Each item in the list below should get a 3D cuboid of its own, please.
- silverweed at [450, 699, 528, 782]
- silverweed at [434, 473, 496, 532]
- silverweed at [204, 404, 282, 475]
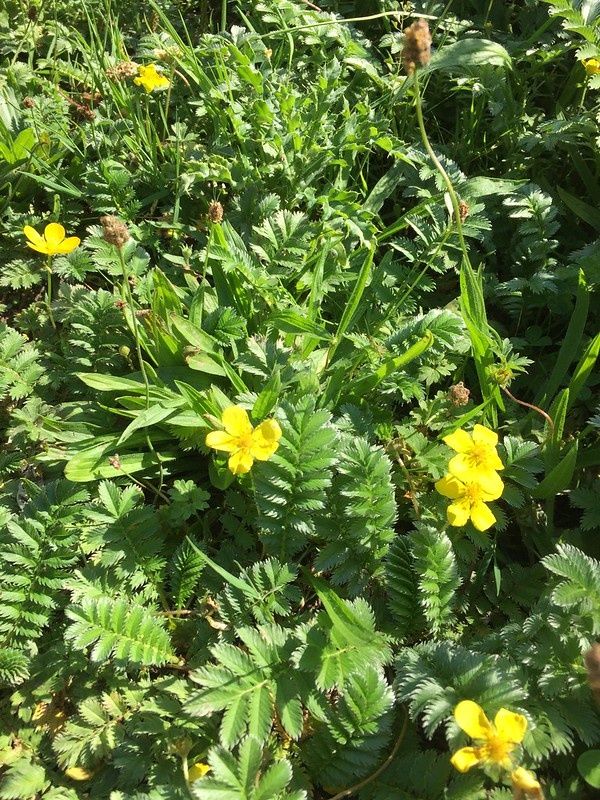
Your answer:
[{"bbox_3d":[0.405,0.740,1.521,0.151,0.105,0.132,14,39,1],"label":"silverweed"},{"bbox_3d":[0.449,0.302,1.943,0.165,0.052,0.156,2,63,-9],"label":"silverweed"},{"bbox_3d":[-0.163,0.111,1.920,0.176,0.107,0.156,26,40,16],"label":"silverweed"}]
